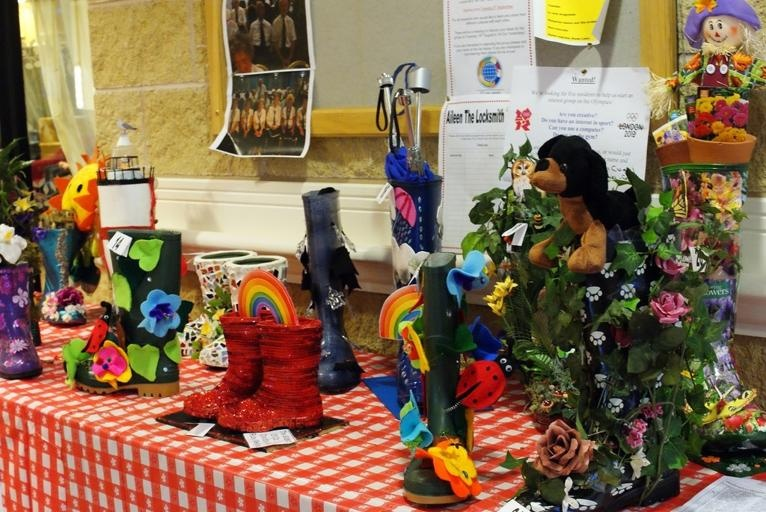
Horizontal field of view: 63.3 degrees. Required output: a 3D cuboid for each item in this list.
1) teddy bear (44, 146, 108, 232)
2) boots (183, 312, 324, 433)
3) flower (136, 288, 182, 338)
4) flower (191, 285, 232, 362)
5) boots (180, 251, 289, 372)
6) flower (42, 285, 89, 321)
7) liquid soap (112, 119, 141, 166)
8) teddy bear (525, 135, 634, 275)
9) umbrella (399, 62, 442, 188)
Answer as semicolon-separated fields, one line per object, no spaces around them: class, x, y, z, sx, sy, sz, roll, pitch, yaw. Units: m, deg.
teddy bear;-0.808;-0.191;1.777;0.158;0.185;0.195;9;-3;12
boots;-0.233;0.220;1.223;0.233;0.183;0.255;6;-3;-41
flower;-0.485;0.102;1.333;0.081;0.034;0.080;6;-31;-41
flower;-0.416;0.173;1.515;0.075;0.149;0.154;-1;17;-21
boots;-0.346;0.095;1.556;0.311;0.280;0.278;3;3;40
flower;-0.931;0.131;1.821;0.110;0.062;0.109;4;4;17
liquid soap;-0.689;-0.307;1.648;0.066;0.105;0.057;-11;21;-35
teddy bear;0.331;-0.092;0.984;0.245;0.210;0.143;-8;12;-33
umbrella;0.072;-0.288;1.311;0.044;0.202;0.041;-2;12;-21
